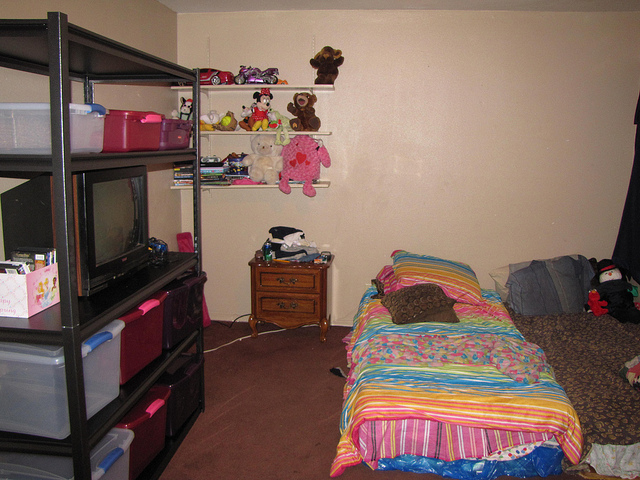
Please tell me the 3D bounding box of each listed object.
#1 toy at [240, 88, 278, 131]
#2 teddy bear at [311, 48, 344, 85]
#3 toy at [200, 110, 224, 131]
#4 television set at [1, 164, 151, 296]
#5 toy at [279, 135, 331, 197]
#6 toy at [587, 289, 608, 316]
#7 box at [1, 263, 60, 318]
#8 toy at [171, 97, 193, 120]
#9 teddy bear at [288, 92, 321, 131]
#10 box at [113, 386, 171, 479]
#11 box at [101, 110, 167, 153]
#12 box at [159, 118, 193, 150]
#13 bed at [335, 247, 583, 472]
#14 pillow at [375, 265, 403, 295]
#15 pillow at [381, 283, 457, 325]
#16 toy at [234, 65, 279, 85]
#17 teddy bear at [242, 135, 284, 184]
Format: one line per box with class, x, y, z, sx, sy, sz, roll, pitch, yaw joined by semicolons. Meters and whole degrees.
toy;-0.528;-1.135;4.322;0.369;0.421;0.174;0;3;-13
teddy bear;0.065;-1.505;4.257;0.338;0.400;0.212;0;-1;8
toy;-0.984;-1.039;4.336;0.214;0.128;0.219;-13;14;31
television set;-1.320;0.047;2.878;0.616;0.869;0.884;-1;5;9
toy;-0.200;-0.675;4.481;0.583;0.176;0.671;-5;-32;-5
toy;2.230;0.506;3.968;0.112;0.182;0.046;-18;-27;14
box;-1.326;0.224;2.319;0.239;0.196;0.259;0;7;9
toy;-1.197;-1.148;4.304;0.158;0.184;0.288;-7;14;-31
teddy bear;-0.144;-1.120;4.350;0.243;0.357;0.211;0;-2;11
box;-0.964;1.080;2.836;0.316;0.308;0.408;7;19;15
box;-1.015;-0.582;2.657;0.257;0.191;0.367;6;11;16
box;-0.856;-0.629;2.936;0.149;0.111;0.212;3;11;12
bed;0.834;0.669;3.359;0.921;0.502;1.348;0;14;7
pillow;0.562;0.276;4.196;0.145;0.041;0.400;-29;14;4
pillow;0.755;0.462;3.824;0.488;0.231;0.383;-1;12;-9
toy;-0.546;-1.406;4.250;0.388;0.201;0.148;4;13;1
teddy bear;-0.449;-0.730;4.518;0.441;0.576;0.380;2;12;5
